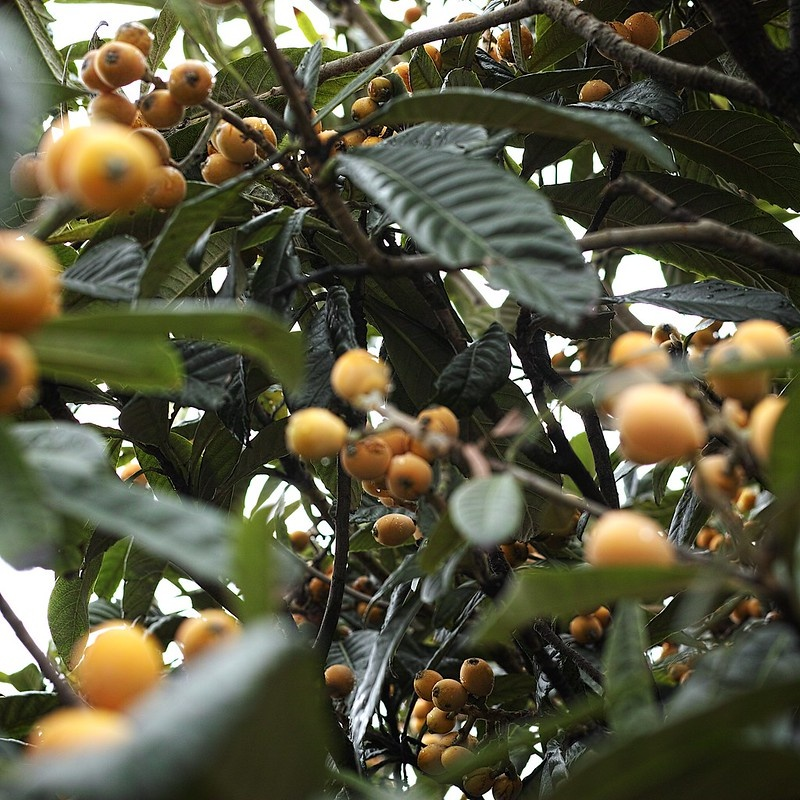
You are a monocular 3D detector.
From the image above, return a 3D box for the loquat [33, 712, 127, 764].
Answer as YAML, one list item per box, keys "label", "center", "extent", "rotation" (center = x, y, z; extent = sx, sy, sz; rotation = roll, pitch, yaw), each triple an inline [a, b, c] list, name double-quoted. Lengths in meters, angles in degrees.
- label: "loquat"
  center: [-0.208, 0.213, 0.662]
  extent: [0.053, 0.026, 0.055]
  rotation: [-5, -14, -28]

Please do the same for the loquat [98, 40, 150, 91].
- label: "loquat"
  center: [-0.279, -0.334, 1.010]
  extent: [0.047, 0.034, 0.051]
  rotation: [-2, 5, -2]
